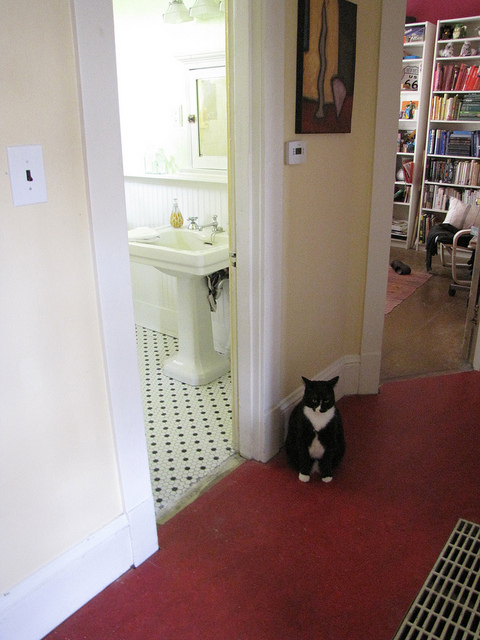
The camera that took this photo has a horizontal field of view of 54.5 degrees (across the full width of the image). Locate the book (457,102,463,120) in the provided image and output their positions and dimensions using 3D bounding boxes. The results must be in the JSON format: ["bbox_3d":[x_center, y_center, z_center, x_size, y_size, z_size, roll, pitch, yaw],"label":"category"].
[{"bbox_3d":[2.364,-2.257,5.045,0.019,0.125,0.099,2,1,8],"label":"book"}]

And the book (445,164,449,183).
[{"bbox_3d":[2.336,-1.650,5.297,0.022,0.183,0.045,5,13,25],"label":"book"}]

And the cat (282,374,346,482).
[{"bbox_3d":[0.312,0.413,1.982,0.198,0.490,0.340,-1,21,4],"label":"cat"}]

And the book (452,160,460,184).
[{"bbox_3d":[2.402,-1.659,5.243,0.031,0.209,0.165,5,10,10],"label":"book"}]

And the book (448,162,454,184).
[{"bbox_3d":[2.373,-1.668,5.257,0.018,0.194,0.133,2,32,15],"label":"book"}]

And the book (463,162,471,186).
[{"bbox_3d":[2.477,-1.594,5.117,0.028,0.177,0.138,6,12,10],"label":"book"}]

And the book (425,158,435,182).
[{"bbox_3d":[2.207,-1.758,5.436,0.089,0.253,0.196,1,-12,1],"label":"book"}]

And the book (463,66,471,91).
[{"bbox_3d":[2.376,-2.532,4.890,0.027,0.278,0.029,-2,20,-43],"label":"book"}]

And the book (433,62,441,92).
[{"bbox_3d":[2.139,-2.631,5.081,0.065,0.279,0.044,7,14,33],"label":"book"}]

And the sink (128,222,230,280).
[{"bbox_3d":[-0.366,-0.413,2.869,0.789,0.274,0.524,10,19,33],"label":"sink"}]

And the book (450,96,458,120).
[{"bbox_3d":[2.317,-2.300,5.061,0.019,0.201,0.141,7,37,18],"label":"book"}]

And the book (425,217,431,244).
[{"bbox_3d":[2.234,-1.066,5.574,0.048,0.307,0.239,3,13,13],"label":"book"}]

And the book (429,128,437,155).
[{"bbox_3d":[2.193,-2.011,5.325,0.059,0.229,0.048,-1,11,2],"label":"book"}]

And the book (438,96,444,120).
[{"bbox_3d":[2.217,-2.344,5.161,0.019,0.240,0.153,4,23,18],"label":"book"}]

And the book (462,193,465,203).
[{"bbox_3d":[2.490,-1.373,5.215,0.014,0.081,0.087,2,15,12],"label":"book"}]

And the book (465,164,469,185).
[{"bbox_3d":[2.486,-1.587,5.115,0.019,0.203,0.026,-11,15,-41],"label":"book"}]

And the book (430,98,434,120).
[{"bbox_3d":[2.145,-2.353,5.216,0.021,0.207,0.050,-3,12,-11],"label":"book"}]

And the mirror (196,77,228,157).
[{"bbox_3d":[-0.173,-1.261,2.941,0.225,0.550,0.024,-10,50,-12],"label":"mirror"}]

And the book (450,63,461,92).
[{"bbox_3d":[2.292,-2.605,5.021,0.037,0.237,0.188,-1,14,-15],"label":"book"}]

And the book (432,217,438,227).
[{"bbox_3d":[2.310,-1.178,5.551,0.045,0.071,0.130,5,17,26],"label":"book"}]

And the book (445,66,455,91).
[{"bbox_3d":[2.243,-2.587,5.016,0.043,0.234,0.089,-1,12,-3],"label":"book"}]

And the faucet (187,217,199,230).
[{"bbox_3d":[-0.307,-0.617,3.032,0.078,0.127,0.061,-2,19,0],"label":"faucet"}]

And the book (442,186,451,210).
[{"bbox_3d":[2.370,-1.392,5.379,0.054,0.238,0.037,2,12,15],"label":"book"}]

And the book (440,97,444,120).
[{"bbox_3d":[2.231,-2.337,5.147,0.013,0.204,0.031,-5,12,-19],"label":"book"}]

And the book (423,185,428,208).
[{"bbox_3d":[2.195,-1.475,5.533,0.065,0.173,0.155,3,25,16],"label":"book"}]

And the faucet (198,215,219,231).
[{"bbox_3d":[-0.192,-0.622,2.995,0.105,0.096,0.175,-14,20,-41],"label":"faucet"}]

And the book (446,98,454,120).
[{"bbox_3d":[2.283,-2.302,5.081,0.017,0.187,0.133,5,39,17],"label":"book"}]

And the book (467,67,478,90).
[{"bbox_3d":[2.408,-2.495,4.843,0.026,0.193,0.101,-5,13,-19],"label":"book"}]

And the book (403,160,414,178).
[{"bbox_3d":[1.990,-1.796,5.598,0.080,0.165,0.045,6,13,27],"label":"book"}]

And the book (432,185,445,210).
[{"bbox_3d":[2.308,-1.433,5.423,0.051,0.188,0.179,10,39,21],"label":"book"}]

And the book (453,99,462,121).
[{"bbox_3d":[2.342,-2.275,5.043,0.075,0.149,0.149,5,42,3],"label":"book"}]
